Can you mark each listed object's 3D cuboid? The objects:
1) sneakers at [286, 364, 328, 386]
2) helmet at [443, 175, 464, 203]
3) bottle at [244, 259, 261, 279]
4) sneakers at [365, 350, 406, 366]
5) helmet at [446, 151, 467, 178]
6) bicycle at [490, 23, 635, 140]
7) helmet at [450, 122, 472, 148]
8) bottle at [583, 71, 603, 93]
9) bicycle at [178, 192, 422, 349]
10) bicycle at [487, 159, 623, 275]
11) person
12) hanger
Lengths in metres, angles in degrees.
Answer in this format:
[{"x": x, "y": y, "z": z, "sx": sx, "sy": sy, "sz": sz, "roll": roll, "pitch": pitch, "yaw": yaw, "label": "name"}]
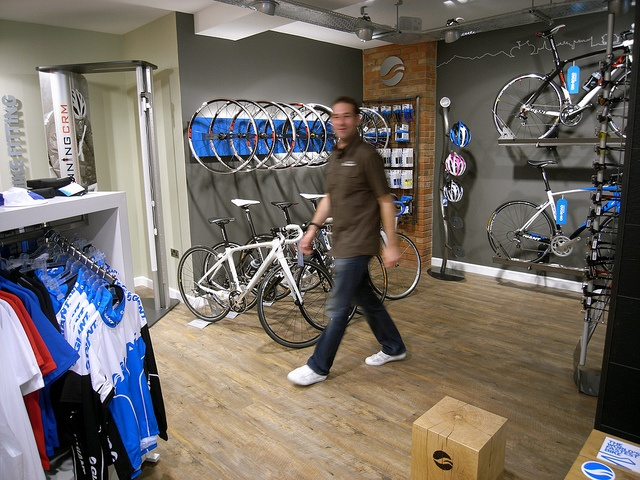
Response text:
[{"x": -0.103, "y": 0.981, "z": 3.042, "sx": 0.239, "sy": 0.106, "sz": 0.131, "roll": 9, "pitch": 1, "yaw": -35, "label": "sneakers"}, {"x": 1.737, "y": -0.665, "z": 5.392, "sx": 0.248, "sy": 0.362, "sz": 0.118, "roll": 1, "pitch": 5, "yaw": 15, "label": "helmet"}, {"x": -0.657, "y": 0.283, "z": 4.057, "sx": 0.099, "sy": 0.160, "sz": 0.100, "roll": 30, "pitch": 13, "yaw": -8, "label": "bottle"}, {"x": 0.552, "y": 0.941, "z": 3.388, "sx": 0.350, "sy": 0.145, "sz": 0.121, "roll": 0, "pitch": 4, "yaw": -7, "label": "sneakers"}, {"x": 1.708, "y": -0.959, "z": 5.271, "sx": 0.223, "sy": 0.315, "sz": 0.239, "roll": 4, "pitch": 18, "yaw": 36, "label": "helmet"}, {"x": 2.442, "y": -1.688, "z": 4.392, "sx": 1.327, "sy": 1.200, "sz": 0.879, "roll": 6, "pitch": 16, "yaw": 36, "label": "bicycle"}, {"x": 1.791, "y": -1.357, "z": 5.321, "sx": 0.275, "sy": 0.334, "sz": 0.247, "roll": 2, "pitch": 14, "yaw": 25, "label": "helmet"}, {"x": 2.845, "y": -1.655, "z": 4.315, "sx": 0.125, "sy": 0.200, "sz": 0.184, "roll": -10, "pitch": 14, "yaw": -25, "label": "bottle"}, {"x": -0.450, "y": 0.241, "z": 4.294, "sx": 2.585, "sy": 1.492, "sz": 1.076, "roll": 2, "pitch": 9, "yaw": 32, "label": "bicycle"}, {"x": 2.893, "y": -0.269, "z": 4.804, "sx": 1.778, "sy": 1.204, "sz": 0.641, "roll": 2, "pitch": -3, "yaw": 6, "label": "bicycle"}, {"x": 0.204, "y": 0.037, "z": 3.006, "sx": 0.774, "sy": 2.047, "sz": 0.547, "roll": -1, "pitch": 13, "yaw": 11, "label": "person"}, {"x": -1.135, "y": 0.105, "z": 2.014, "sx": 0.516, "sy": 0.332, "sz": 0.150, "roll": 6, "pitch": 16, "yaw": 36, "label": "hanger"}]
